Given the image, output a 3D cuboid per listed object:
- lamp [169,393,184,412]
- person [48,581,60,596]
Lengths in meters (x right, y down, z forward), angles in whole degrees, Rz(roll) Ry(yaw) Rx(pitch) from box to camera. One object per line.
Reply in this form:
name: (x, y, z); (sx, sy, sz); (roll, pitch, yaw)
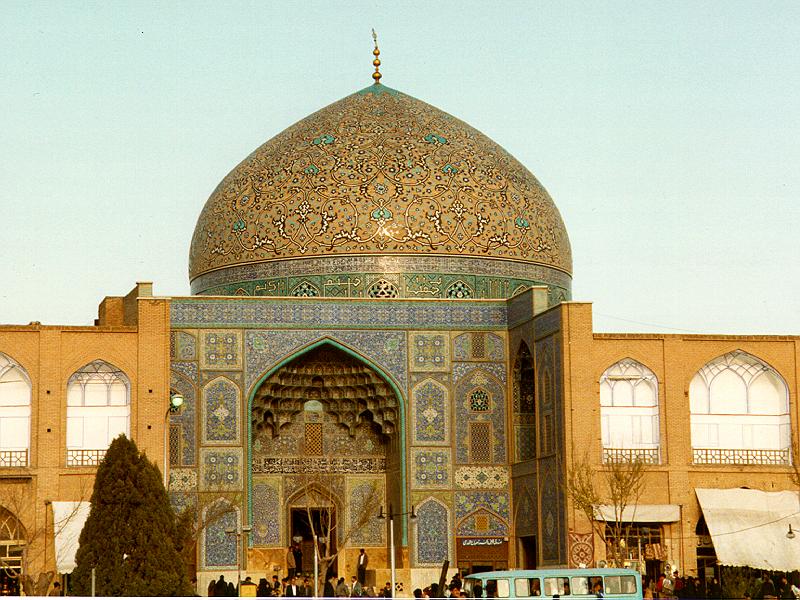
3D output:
lamp: (-4.091, 1.853, 29.720); (0.288, 0.301, 0.068); (0, 6, -28)
person: (-5.791, 4.791, 27.306); (0.221, 0.276, 0.764); (2, -15, -11)
